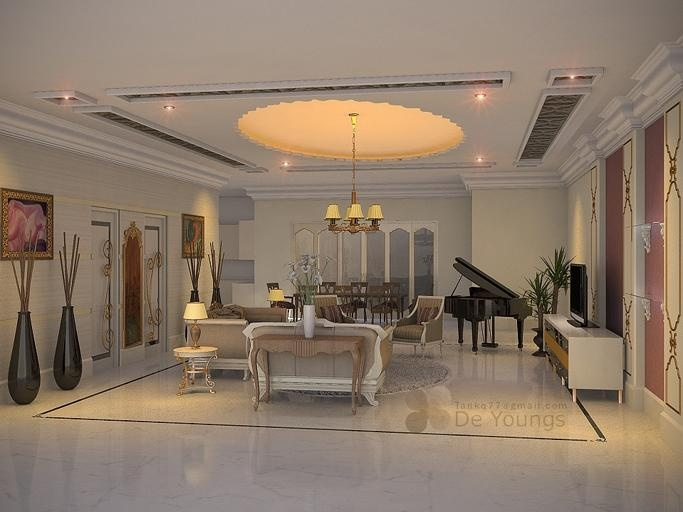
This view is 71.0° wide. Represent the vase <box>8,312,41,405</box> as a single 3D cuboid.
[{"bbox_3d":[-4.001,1.278,5.994,0.342,1.177,0.227,-1,1,-28],"label":"vase"}]

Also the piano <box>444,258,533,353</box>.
[{"bbox_3d":[2.971,0.965,9.922,1.869,2.179,1.576,-2,0,6],"label":"piano"}]

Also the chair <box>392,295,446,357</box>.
[{"bbox_3d":[1.495,1.277,8.995,0.949,1.383,1.016,-2,-4,39],"label":"chair"}]

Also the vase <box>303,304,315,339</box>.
[{"bbox_3d":[-0.414,0.813,5.941,0.127,0.394,0.189,0,1,-2],"label":"vase"}]

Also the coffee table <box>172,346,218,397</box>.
[{"bbox_3d":[-2.106,1.617,6.955,0.698,0.693,0.746,4,-6,-36],"label":"coffee table"}]

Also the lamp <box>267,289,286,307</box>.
[{"bbox_3d":[-1.339,0.872,9.988,0.357,0.399,0.383,1,-4,-29],"label":"lamp"}]

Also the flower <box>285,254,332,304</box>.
[{"bbox_3d":[-0.647,0.470,9.484,0.933,1.154,1.082,3,-6,-9],"label":"flower"}]

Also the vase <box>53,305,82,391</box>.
[{"bbox_3d":[-3.840,1.283,6.664,0.351,1.198,0.240,0,1,-22],"label":"vase"}]
